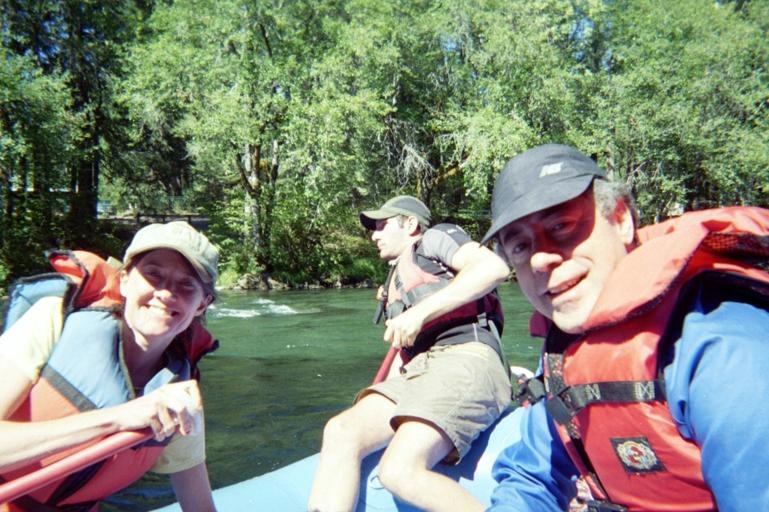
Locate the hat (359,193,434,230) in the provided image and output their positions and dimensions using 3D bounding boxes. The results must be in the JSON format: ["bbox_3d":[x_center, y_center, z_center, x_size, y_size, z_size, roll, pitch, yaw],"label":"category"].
[{"bbox_3d":[0.099,-0.379,4.385,0.418,0.222,0.285,1,-10,-3],"label":"hat"}]

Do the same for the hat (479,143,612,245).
[{"bbox_3d":[0.716,-0.333,2.539,0.485,0.269,0.382,-20,-15,-34],"label":"hat"}]
